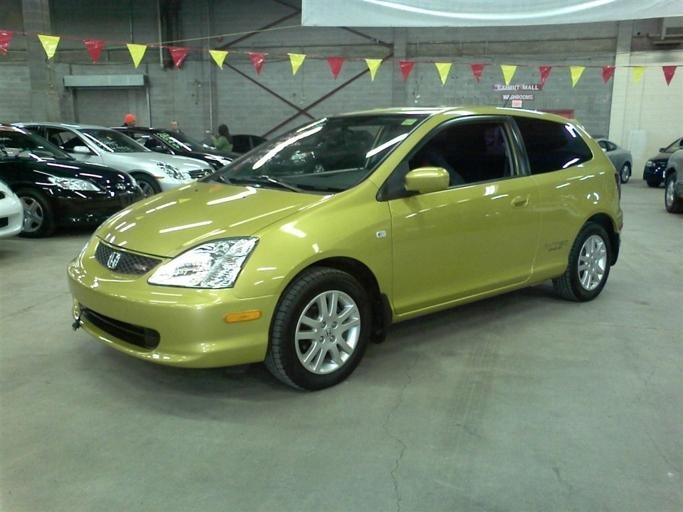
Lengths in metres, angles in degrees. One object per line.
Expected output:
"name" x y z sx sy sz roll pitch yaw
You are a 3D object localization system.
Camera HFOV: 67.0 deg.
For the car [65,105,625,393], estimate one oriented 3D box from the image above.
"car" 0.333 -0.295 4.489 4.874 1.879 1.793 -12 21 -33
